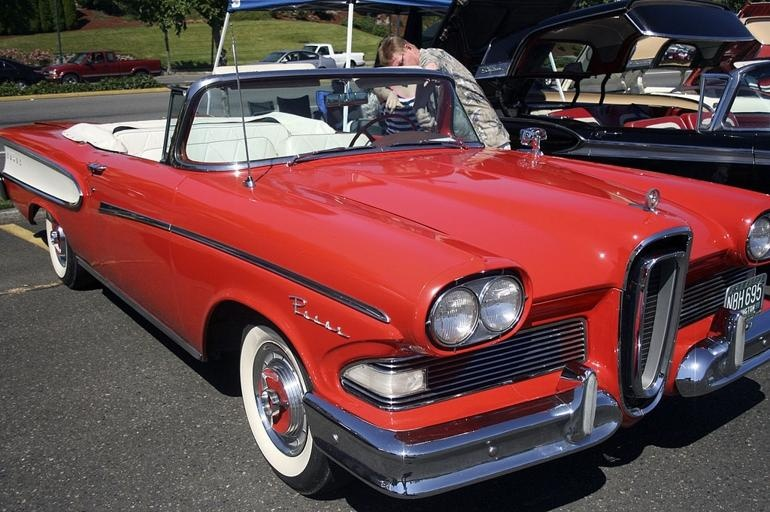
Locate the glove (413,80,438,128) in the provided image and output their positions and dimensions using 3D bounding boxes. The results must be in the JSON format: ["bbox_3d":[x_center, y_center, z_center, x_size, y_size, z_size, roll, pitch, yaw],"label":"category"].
[{"bbox_3d":[0.295,-1.099,3.977,0.140,0.290,0.324,6,11,39],"label":"glove"}]

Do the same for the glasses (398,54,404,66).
[{"bbox_3d":[0.155,-1.798,5.001,0.033,0.090,0.083,9,-18,-31],"label":"glasses"}]
